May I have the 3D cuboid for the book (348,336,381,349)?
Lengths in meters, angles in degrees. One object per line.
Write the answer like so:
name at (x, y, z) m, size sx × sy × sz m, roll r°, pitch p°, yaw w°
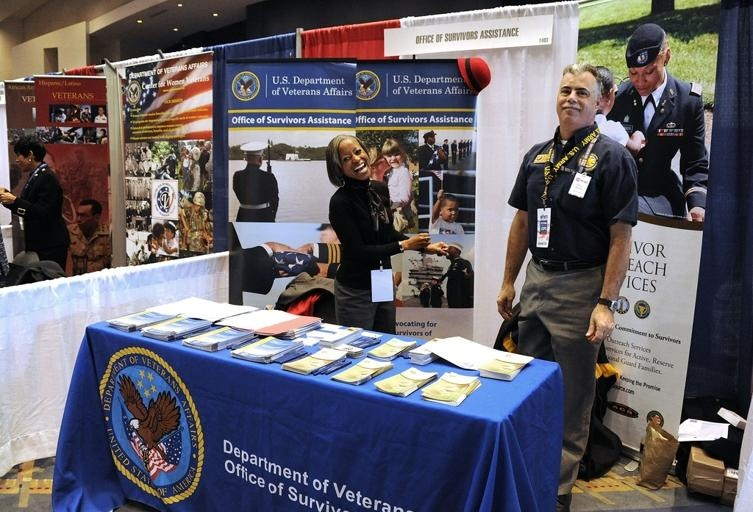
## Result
book at (-0.066, 0.482, 3.468) m, size 0.073 × 0.018 × 0.120 m, roll 6°, pitch 10°, yaw 32°

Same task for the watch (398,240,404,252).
watch at (0.146, -0.050, 3.939) m, size 0.019 × 0.055 × 0.039 m, roll -2°, pitch 3°, yaw -11°

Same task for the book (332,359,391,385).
book at (-0.078, 0.589, 3.144) m, size 0.124 × 0.041 × 0.198 m, roll 1°, pitch 13°, yaw 35°

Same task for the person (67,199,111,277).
person at (-3.065, -0.206, 6.616) m, size 0.410 × 0.776 × 0.161 m, roll -4°, pitch 8°, yaw -18°

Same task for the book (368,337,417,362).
book at (0.082, 0.504, 3.388) m, size 0.109 × 0.036 × 0.193 m, roll 3°, pitch 17°, yaw 33°

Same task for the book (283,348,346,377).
book at (-0.312, 0.549, 3.210) m, size 0.138 × 0.045 × 0.202 m, roll 7°, pitch 13°, yaw 33°

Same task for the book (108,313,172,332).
book at (-1.381, 0.379, 3.626) m, size 0.156 × 0.031 × 0.175 m, roll 5°, pitch 10°, yaw 32°

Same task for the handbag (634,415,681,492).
handbag at (1.873, 1.353, 4.245) m, size 0.163 × 0.454 × 0.362 m, roll -2°, pitch 13°, yaw 7°

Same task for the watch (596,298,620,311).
watch at (1.354, 0.289, 3.669) m, size 0.105 × 0.068 × 0.108 m, roll 15°, pitch -5°, yaw -23°

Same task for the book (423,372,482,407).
book at (0.360, 0.656, 3.047) m, size 0.191 × 0.079 × 0.308 m, roll 5°, pitch 11°, yaw 39°

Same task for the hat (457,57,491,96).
hat at (0.707, -1.300, 4.498) m, size 0.086 × 0.263 × 0.190 m, roll -13°, pitch 24°, yaw 23°
